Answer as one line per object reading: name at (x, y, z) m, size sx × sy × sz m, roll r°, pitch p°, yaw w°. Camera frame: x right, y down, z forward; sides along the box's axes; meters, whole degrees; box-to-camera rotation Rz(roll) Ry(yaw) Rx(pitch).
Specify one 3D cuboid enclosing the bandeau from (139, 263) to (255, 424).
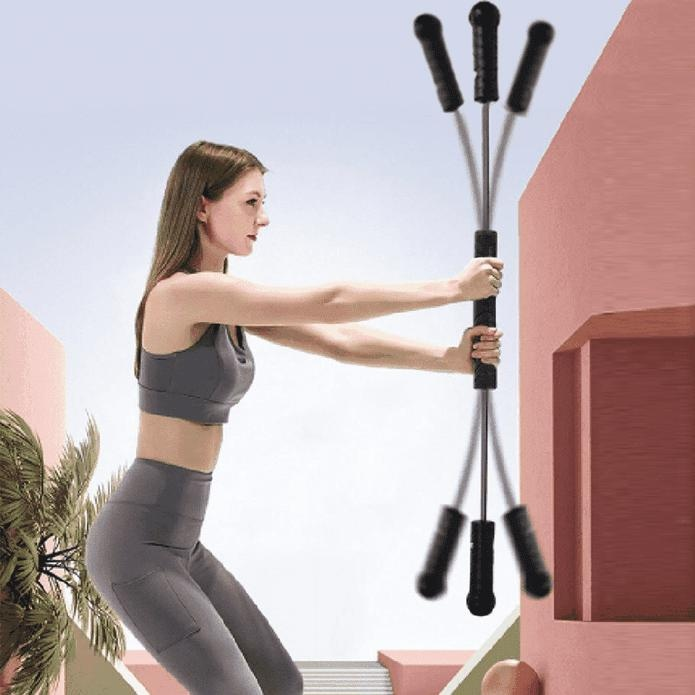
bandeau at (-0.504, 0.062, 3.898) m, size 0.376 × 0.447 × 0.361 m, roll 4°, pitch -5°, yaw -9°

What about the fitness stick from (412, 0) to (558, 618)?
fitness stick at (0.418, -0.202, 3.679) m, size 0.439 × 1.994 × 0.709 m, roll 1°, pitch -17°, yaw 10°
